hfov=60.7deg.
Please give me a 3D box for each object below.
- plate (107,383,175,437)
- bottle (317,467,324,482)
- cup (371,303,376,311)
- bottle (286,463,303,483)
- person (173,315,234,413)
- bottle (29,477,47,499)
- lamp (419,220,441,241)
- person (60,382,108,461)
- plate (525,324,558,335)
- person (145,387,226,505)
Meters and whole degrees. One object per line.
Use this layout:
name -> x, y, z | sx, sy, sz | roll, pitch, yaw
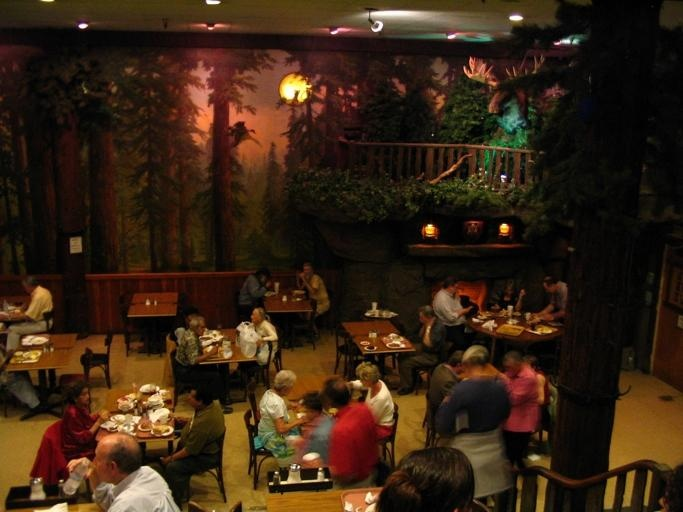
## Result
plate -> -3.145, 2.497, 9.216 | 0.641, 0.257, 0.969 | -2, 23, -12
bottle -> -0.252, 2.820, 7.516 | 0.113, 0.179, 0.106 | 1, 15, 0
cup -> 0.792, 1.217, 14.018 | 0.163, 0.188, 0.150 | 0, 7, 0
bottle -> -0.579, 2.792, 7.516 | 0.226, 0.222, 0.214 | 1, 4, -3
person -> -2.642, 2.116, 11.134 | 1.178, 1.872, 0.891 | -9, 39, -17
bottle -> -3.491, 2.694, 6.731 | 0.164, 0.228, 0.129 | -3, 3, -21
lamp -> 2.342, -0.634, 15.218 | 0.484, 0.493, 0.293 | -2, 3, -1
person -> -3.905, 2.536, 8.830 | 0.804, 1.328, 0.618 | -7, 25, -22
plate -> 4.245, 1.576, 12.394 | 0.315, 0.040, 0.296 | -5, 18, -14
person -> -2.313, 2.891, 8.712 | 1.312, 2.220, 0.998 | 6, 23, -20
